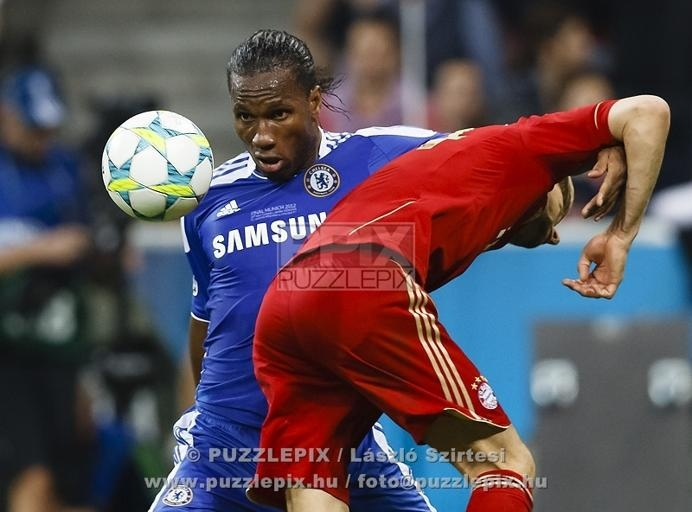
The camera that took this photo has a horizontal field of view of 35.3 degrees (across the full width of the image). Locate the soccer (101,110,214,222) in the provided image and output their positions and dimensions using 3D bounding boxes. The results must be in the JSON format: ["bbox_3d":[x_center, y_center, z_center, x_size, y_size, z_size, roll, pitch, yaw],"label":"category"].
[{"bbox_3d":[-0.952,-0.409,5.373,0.447,0.502,0.472,3,25,-12],"label":"soccer"}]
